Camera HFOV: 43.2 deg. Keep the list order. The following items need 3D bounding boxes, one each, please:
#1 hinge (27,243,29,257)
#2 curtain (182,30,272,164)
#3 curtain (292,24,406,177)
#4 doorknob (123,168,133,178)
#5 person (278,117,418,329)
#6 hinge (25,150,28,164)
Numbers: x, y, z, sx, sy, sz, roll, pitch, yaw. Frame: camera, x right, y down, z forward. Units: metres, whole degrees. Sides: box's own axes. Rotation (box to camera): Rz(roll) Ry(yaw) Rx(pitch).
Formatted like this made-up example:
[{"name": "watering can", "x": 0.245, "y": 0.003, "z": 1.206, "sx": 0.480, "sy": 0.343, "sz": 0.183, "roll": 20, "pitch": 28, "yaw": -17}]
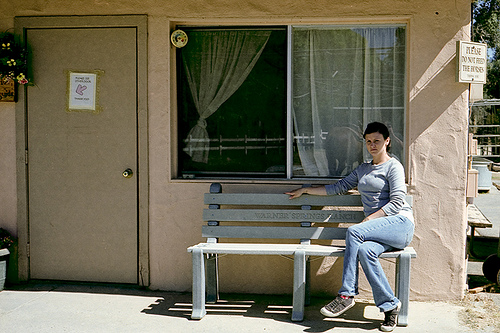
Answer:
[{"name": "hinge", "x": -2.838, "y": 1.069, "z": 8.062, "sx": 0.003, "sy": 0.177, "sz": 0.029, "roll": 1, "pitch": 4, "yaw": 37}, {"name": "curtain", "x": -0.247, "y": -0.923, "z": 7.899, "sx": 1.608, "sy": 1.923, "sz": 0.260, "roll": 3, "pitch": -3, "yaw": 8}, {"name": "curtain", "x": 1.261, "y": -0.874, "z": 7.723, "sx": 1.939, "sy": 2.419, "sz": 0.091, "roll": 0, "pitch": -1, "yaw": 6}, {"name": "doorknob", "x": -1.528, "y": 0.085, "z": 7.891, "sx": 0.116, "sy": 0.123, "sz": 0.035, "roll": -2, "pitch": 3, "yaw": -7}, {"name": "person", "x": 1.266, "y": 0.617, "z": 7.352, "sx": 1.195, "sy": 2.288, "sz": 1.030, "roll": -1, "pitch": 3, "yaw": 4}, {"name": "hinge", "x": -2.850, "y": -0.123, "z": 8.039, "sx": 0.038, "sy": 0.169, "sz": 0.009, "roll": -5, "pitch": 5, "yaw": -44}]
